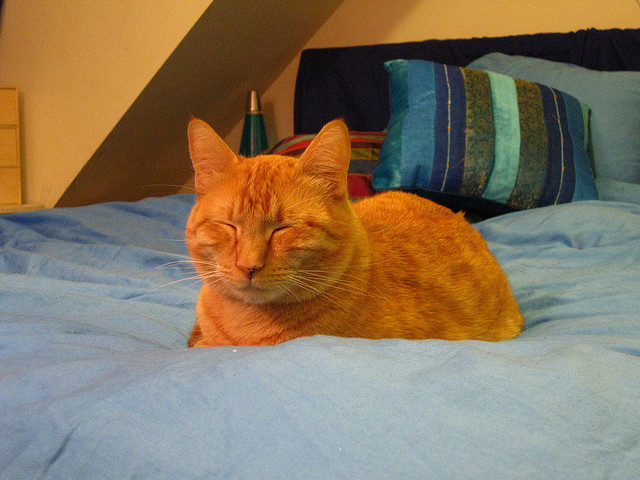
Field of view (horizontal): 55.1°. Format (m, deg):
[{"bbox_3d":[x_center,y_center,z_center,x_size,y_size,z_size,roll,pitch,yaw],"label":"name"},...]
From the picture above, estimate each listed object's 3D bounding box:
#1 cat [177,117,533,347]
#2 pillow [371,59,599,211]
[{"bbox_3d":[0.057,-0.006,1.569,0.627,0.440,0.891,15,13,38],"label":"cat"},{"bbox_3d":[0.560,-0.372,2.086,0.733,0.388,0.456,2,35,8],"label":"pillow"}]
